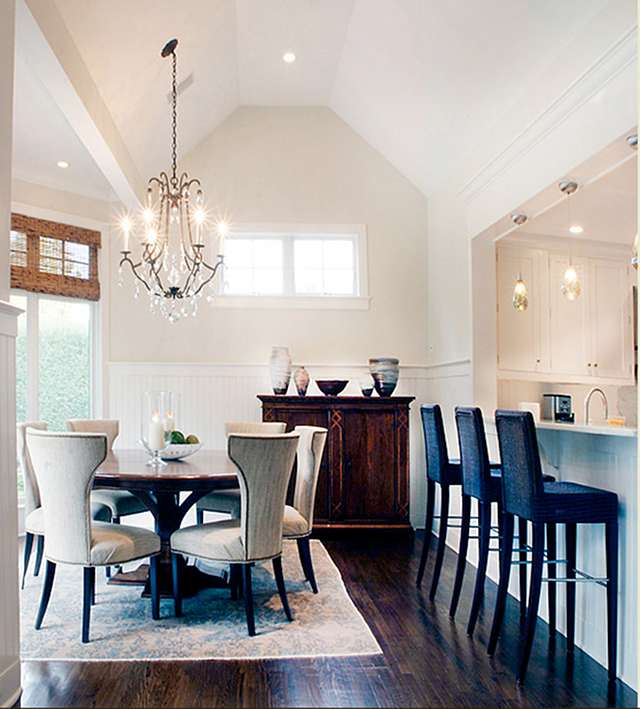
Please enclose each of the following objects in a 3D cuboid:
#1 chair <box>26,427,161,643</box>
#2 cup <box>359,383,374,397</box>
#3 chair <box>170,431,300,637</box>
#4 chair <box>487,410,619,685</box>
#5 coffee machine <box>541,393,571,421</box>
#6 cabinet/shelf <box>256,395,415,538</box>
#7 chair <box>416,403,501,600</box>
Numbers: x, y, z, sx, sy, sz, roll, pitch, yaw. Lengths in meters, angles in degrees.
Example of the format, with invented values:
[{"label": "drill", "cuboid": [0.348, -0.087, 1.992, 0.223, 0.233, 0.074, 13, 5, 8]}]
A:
[{"label": "chair", "cuboid": [-1.114, 0.840, 2.976, 0.492, 1.027, 0.548, 1, 2, 15]}, {"label": "cup", "cuboid": [0.410, 0.311, 5.214, 0.081, 0.086, 0.093, 0, -7, -1]}, {"label": "chair", "cuboid": [-0.409, 0.843, 3.033, 0.565, 0.992, 0.499, 2, 0, 42]}, {"label": "chair", "cuboid": [1.031, 0.801, 2.693, 0.540, 1.094, 0.841, -1, -3, 25]}, {"label": "coffee machine", "cuboid": [1.889, 0.430, 4.786, 0.187, 0.310, 0.189, 4, -6, -38]}, {"label": "cabinet/shelf", "cuboid": [0.118, 0.830, 4.400, 0.870, 1.052, 0.352, 1, -4, -3]}, {"label": "chair", "cuboid": [0.864, 0.877, 3.685, 0.363, 1.084, 0.341, 2, -3, 12]}]
